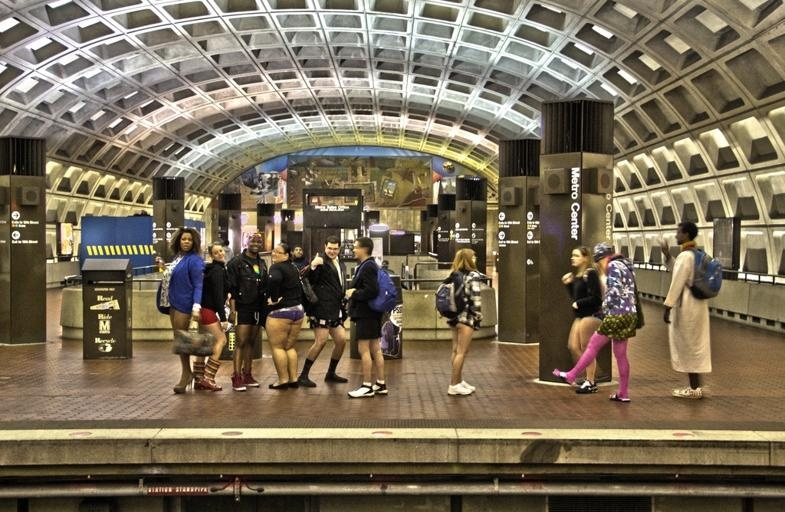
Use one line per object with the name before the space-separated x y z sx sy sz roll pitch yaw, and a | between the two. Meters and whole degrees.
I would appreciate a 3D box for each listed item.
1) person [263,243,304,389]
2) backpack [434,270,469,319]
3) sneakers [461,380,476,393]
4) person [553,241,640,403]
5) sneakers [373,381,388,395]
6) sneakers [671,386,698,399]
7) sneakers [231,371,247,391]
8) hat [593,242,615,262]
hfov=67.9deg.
person | -1.882 1.183 10.070 0.606 2.193 0.378 0 -1 -18
backpack | 1.002 0.664 9.824 0.469 0.795 0.229 0 -1 6
sneakers | 1.376 2.221 9.934 0.375 0.133 0.138 5 1 -12
person | 3.594 1.042 9.807 1.314 2.541 0.921 0 -1 2
sneakers | -0.211 2.226 9.854 0.120 0.145 0.335 0 4 -11
sneakers | 4.857 2.234 9.610 0.378 0.136 0.138 3 3 25
sneakers | -2.650 2.134 10.039 0.187 0.300 0.232 0 -1 -33
hat | 3.628 -0.082 10.108 0.407 0.300 0.287 3 -2 8
